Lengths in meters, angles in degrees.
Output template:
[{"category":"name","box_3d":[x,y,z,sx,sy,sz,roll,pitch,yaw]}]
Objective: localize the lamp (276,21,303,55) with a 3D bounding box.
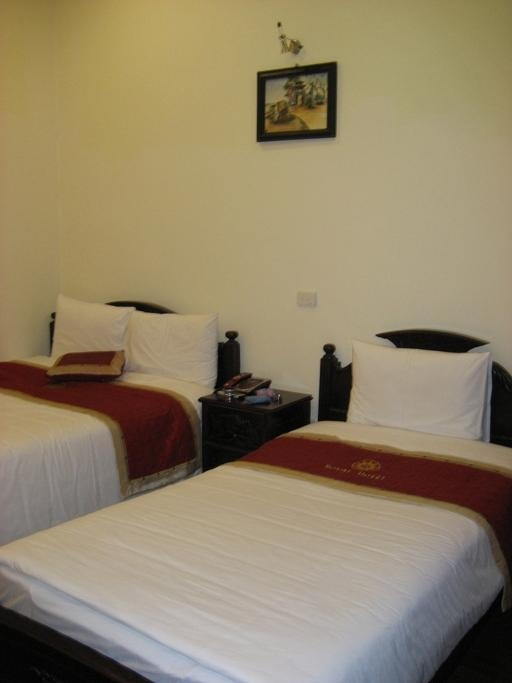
[{"category":"lamp","box_3d":[0.165,-1.567,2.935,0.174,0.179,0.061,11,13,43]}]

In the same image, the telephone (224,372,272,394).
[{"category":"telephone","box_3d":[-0.048,0.227,2.971,0.126,0.056,0.157,4,6,36]}]

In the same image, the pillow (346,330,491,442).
[{"category":"pillow","box_3d":[0.719,0.205,2.446,0.509,0.302,0.071,1,-9,38]}]

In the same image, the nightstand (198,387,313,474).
[{"category":"nightstand","box_3d":[0.047,0.374,3.043,0.422,0.558,0.466,6,10,36]}]
